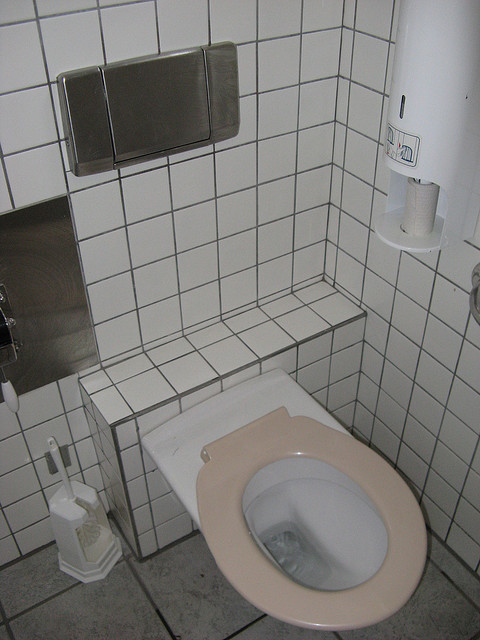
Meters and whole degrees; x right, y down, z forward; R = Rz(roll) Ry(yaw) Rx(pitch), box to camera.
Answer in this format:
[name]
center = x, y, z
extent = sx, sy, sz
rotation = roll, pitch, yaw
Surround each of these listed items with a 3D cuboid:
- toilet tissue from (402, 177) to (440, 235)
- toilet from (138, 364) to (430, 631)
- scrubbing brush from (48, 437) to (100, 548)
[toilet tissue]
center = 0.333, -0.209, 0.891
extent = 0.056, 0.106, 0.057
rotation = 8, 34, 19
[toilet]
center = 0.093, 0.423, 1.021
extent = 0.428, 0.302, 0.589
rotation = -20, 37, -22
[scrubbing brush]
center = -0.394, 0.420, 1.168
extent = 0.060, 0.428, 0.081
rotation = -20, 34, -24
